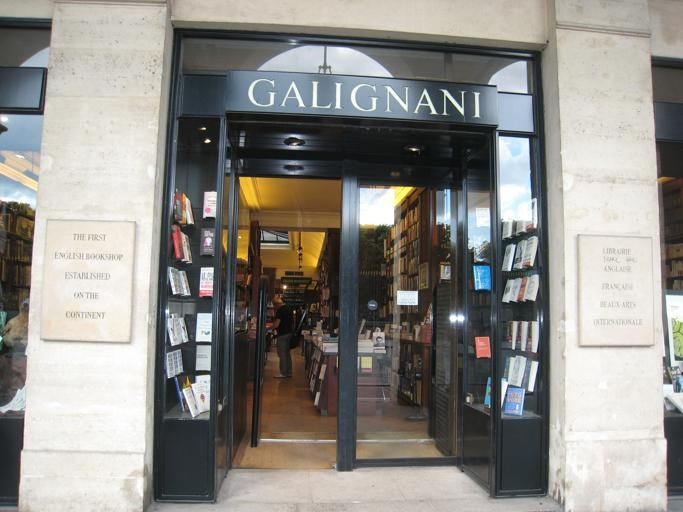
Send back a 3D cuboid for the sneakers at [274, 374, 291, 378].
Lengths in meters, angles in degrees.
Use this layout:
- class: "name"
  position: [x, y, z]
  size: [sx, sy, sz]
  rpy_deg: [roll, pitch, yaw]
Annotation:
- class: "sneakers"
  position: [-1.035, 2.113, 11.164]
  size: [0.251, 0.072, 0.102]
  rpy_deg: [6, -14, -12]
